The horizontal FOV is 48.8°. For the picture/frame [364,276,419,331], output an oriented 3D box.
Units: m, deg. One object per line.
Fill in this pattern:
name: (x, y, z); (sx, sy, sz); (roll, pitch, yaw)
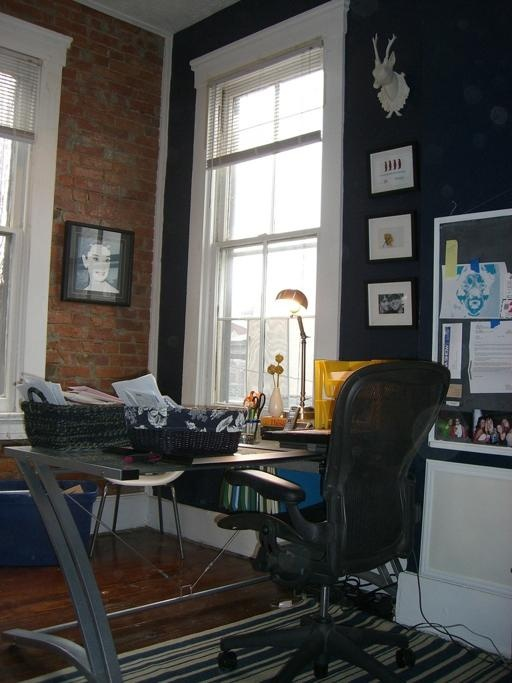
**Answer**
picture/frame: (0.624, -0.171, 2.554); (0.018, 0.250, 0.256); (7, -5, -44)

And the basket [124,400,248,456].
basket: (-0.174, 0.232, 1.500); (0.223, 0.085, 0.170); (4, -7, -33)

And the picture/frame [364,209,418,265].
picture/frame: (0.627, -0.475, 2.580); (0.025, 0.263, 0.284); (3, -1, -43)

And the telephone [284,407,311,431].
telephone: (0.197, 0.358, 2.593); (0.097, 0.089, 0.104); (12, -17, -28)

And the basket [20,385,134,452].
basket: (-0.509, 0.214, 1.631); (0.196, 0.106, 0.263); (-8, -11, 42)

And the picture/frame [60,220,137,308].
picture/frame: (-0.998, -0.480, 3.514); (0.582, 0.650, 0.069); (3, -1, -43)

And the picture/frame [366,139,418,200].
picture/frame: (0.635, -0.790, 2.596); (0.036, 0.277, 0.325); (-2, 2, -44)
